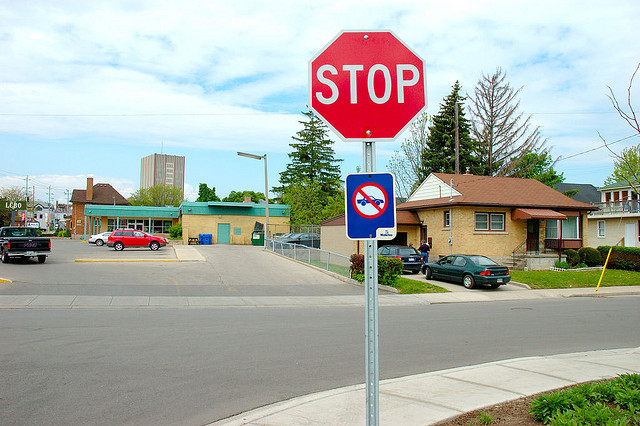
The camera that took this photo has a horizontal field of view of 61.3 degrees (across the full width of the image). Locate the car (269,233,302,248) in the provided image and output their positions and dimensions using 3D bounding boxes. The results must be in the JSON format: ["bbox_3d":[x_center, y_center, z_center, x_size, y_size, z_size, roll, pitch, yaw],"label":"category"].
[{"bbox_3d":[-2.970,2.177,42.499,1.852,0.632,0.851,-6,5,-39],"label":"car"}]

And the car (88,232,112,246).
[{"bbox_3d":[-20.270,2.385,49.771,2.542,0.850,1.111,-2,2,-14],"label":"car"}]

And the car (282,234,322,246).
[{"bbox_3d":[-1.219,1.932,41.382,2.215,0.748,1.052,4,-6,-19],"label":"car"}]

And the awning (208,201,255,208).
[{"bbox_3d":[-8.990,-0.855,54.537,4.366,0.563,1.547,2,-2,-5],"label":"awning"}]

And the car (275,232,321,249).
[{"bbox_3d":[-1.433,2.055,41.095,2.810,0.953,1.290,4,-7,-26],"label":"car"}]

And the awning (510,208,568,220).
[{"bbox_3d":[13.120,0.041,32.639,2.721,0.494,1.659,2,-2,1],"label":"awning"}]

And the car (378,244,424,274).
[{"bbox_3d":[4.510,2.518,30.490,1.228,0.897,2.637,1,1,-16],"label":"car"}]

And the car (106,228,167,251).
[{"bbox_3d":[-14.365,2.044,42.028,4.065,1.566,1.806,-1,-1,-12],"label":"car"}]

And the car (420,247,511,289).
[{"bbox_3d":[7.060,2.805,26.211,3.652,1.302,1.119,0,-2,45],"label":"car"}]
